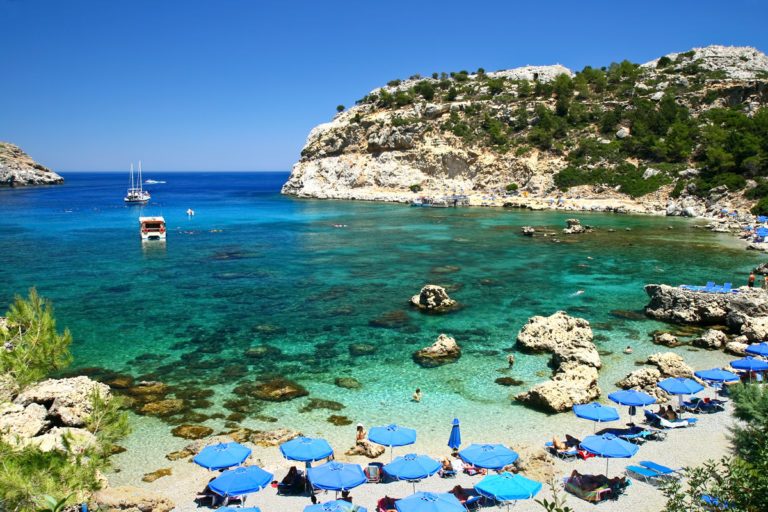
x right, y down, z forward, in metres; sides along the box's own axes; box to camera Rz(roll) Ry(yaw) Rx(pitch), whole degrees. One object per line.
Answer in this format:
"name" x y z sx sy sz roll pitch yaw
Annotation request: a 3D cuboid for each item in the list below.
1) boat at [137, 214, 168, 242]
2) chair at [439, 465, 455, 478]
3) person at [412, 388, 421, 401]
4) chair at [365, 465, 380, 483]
"boat" -31.368 -3.829 73.635 3.620 1.486 5.252 -1 15 -25
"chair" 3.205 10.721 27.025 0.694 0.201 0.414 0 21 1
"person" 1.988 8.257 32.472 0.696 0.787 0.419 -3 22 -7
"chair" -0.503 10.734 26.788 0.941 0.773 0.798 -2 -5 8
